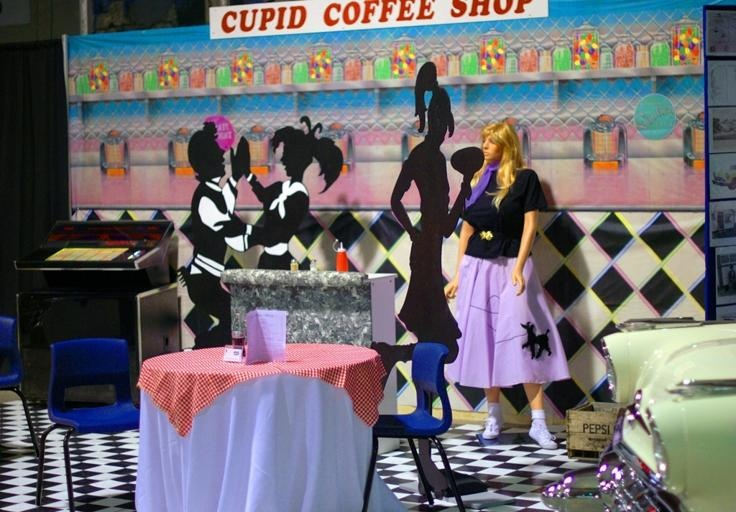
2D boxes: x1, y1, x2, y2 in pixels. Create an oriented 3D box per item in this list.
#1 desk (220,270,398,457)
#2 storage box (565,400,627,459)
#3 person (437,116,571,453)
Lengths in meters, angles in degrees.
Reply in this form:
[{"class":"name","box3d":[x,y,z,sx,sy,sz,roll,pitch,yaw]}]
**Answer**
[{"class":"desk","box3d":[-0.323,0.674,5.150,1.073,1.287,0.506,0,1,21]},{"class":"storage box","box3d":[1.523,1.215,5.750,0.312,0.375,0.267,3,10,21]},{"class":"person","box3d":[1.005,-0.017,6.203,0.828,1.895,0.493,1,9,13]}]
